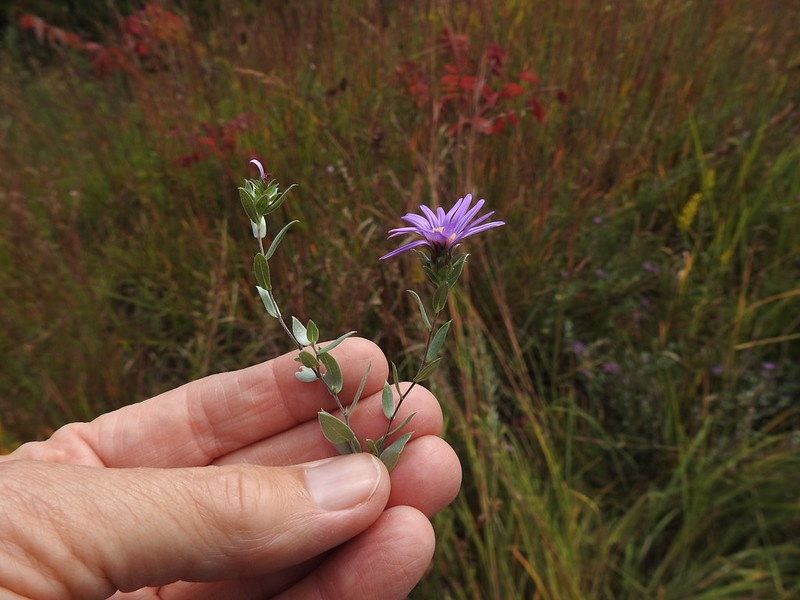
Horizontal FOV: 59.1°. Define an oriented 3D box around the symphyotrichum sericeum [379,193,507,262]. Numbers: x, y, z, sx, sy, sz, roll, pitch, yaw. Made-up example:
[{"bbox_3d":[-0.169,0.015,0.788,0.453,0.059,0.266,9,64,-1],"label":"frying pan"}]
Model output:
[{"bbox_3d":[0.162,-0.229,2.435,0.383,0.183,0.353,1,1,35],"label":"symphyotrichum sericeum"}]
